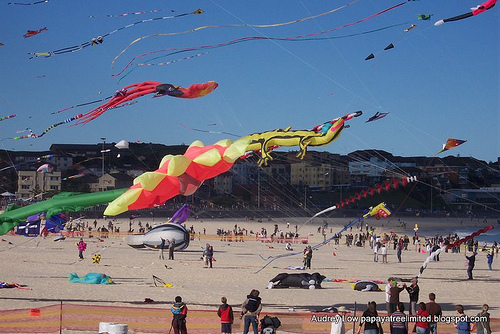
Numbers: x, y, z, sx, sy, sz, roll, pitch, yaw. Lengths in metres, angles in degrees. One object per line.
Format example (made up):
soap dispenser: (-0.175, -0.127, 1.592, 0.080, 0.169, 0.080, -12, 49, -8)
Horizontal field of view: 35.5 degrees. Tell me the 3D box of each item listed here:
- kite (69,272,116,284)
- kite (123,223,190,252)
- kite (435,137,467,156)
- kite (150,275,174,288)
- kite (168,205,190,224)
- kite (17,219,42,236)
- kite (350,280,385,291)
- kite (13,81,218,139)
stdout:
kite: (-9.688, 6.930, 47.848, 2.801, 0.658, 0.978, -1, -9, 16)
kite: (-7.918, 6.083, 65.433, 5.690, 2.499, 2.484, -3, -5, 14)
kite: (9.012, -0.952, 34.703, 0.297, 1.259, 0.817, 41, -4, 41)
kite: (-5.286, 7.046, 47.663, 1.957, 0.774, 0.589, 2, 6, 43)
kite: (-5.884, 4.127, 65.954, 1.257, 1.671, 3.229, 2, -8, 2)
kite: (-10.901, 3.026, 38.613, 0.928, 0.664, 0.090, -3, -19, 7)
kite: (7.149, 7.259, 47.079, 1.742, 0.562, 0.928, 2, -8, -3)
kite: (-4.231, -2.982, 34.911, 5.166, 1.698, 0.708, 1, -9, 6)
